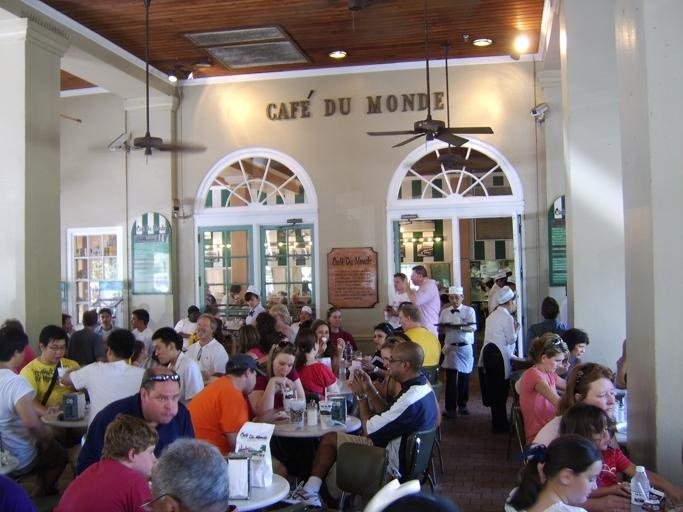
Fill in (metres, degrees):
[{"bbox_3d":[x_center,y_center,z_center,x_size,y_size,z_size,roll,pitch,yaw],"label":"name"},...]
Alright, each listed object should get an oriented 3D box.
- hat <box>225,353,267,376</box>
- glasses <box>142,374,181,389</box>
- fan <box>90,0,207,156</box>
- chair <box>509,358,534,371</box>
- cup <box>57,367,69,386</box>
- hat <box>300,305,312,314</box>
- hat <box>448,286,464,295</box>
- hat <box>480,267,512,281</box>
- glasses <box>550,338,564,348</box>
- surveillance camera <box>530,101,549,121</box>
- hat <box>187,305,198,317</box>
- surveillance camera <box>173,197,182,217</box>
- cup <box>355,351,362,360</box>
[{"bbox_3d":[-0.752,0.840,4.930,0.285,0.159,0.202,-1,-1,-30],"label":"hat"},{"bbox_3d":[-1.221,0.825,4.133,0.133,0.039,0.130,-21,-22,30],"label":"glasses"},{"bbox_3d":[-2.848,-2.719,9.404,1.524,2.346,1.569,-3,-9,18],"label":"fan"},{"bbox_3d":[2.105,1.283,7.205,0.183,0.214,0.171,0,2,-11],"label":"chair"},{"bbox_3d":[-2.551,1.104,5.689,0.063,0.182,0.123,-12,1,-28],"label":"cup"},{"bbox_3d":[-0.513,0.763,8.971,0.125,0.143,0.178,-1,-21,7],"label":"hat"},{"bbox_3d":[1.558,0.472,8.558,0.144,0.100,0.147,3,4,33],"label":"hat"},{"bbox_3d":[3.093,0.341,12.423,0.499,0.260,0.375,-1,-2,41],"label":"hat"},{"bbox_3d":[1.850,0.733,5.296,0.062,0.049,0.082,1,-24,13],"label":"glasses"},{"bbox_3d":[2.999,-2.178,9.354,0.292,0.303,0.219,5,-4,34],"label":"surveillance camera"},{"bbox_3d":[-2.171,0.818,9.123,0.143,0.188,0.178,-1,-27,-40],"label":"hat"},{"bbox_3d":[-2.802,-0.817,10.522,0.147,0.314,0.086,-1,-2,-19],"label":"surveillance camera"},{"bbox_3d":[0.215,1.182,7.405,0.108,0.114,0.060,2,-15,-8],"label":"cup"}]
